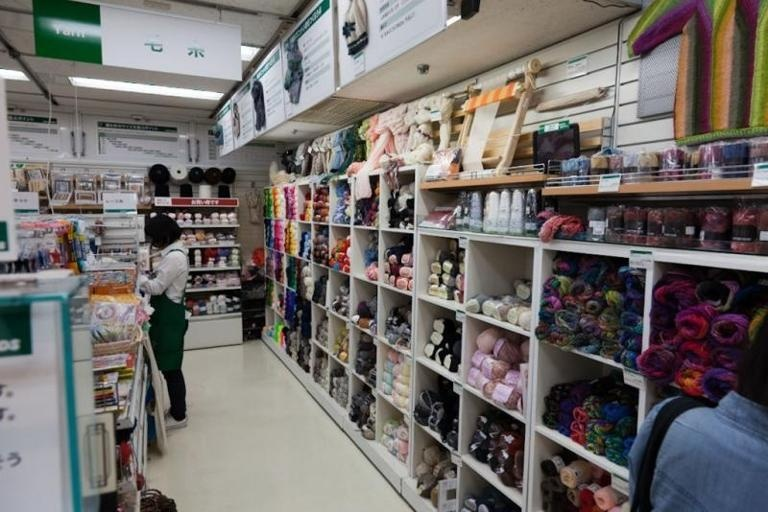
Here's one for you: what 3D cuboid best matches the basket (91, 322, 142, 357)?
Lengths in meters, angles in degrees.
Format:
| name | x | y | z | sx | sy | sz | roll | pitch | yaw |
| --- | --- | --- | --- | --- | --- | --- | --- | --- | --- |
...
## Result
| name | x | y | z | sx | sy | sz | roll | pitch | yaw |
| --- | --- | --- | --- | --- | --- | --- | --- | --- | --- |
| basket | -1.740 | 0.551 | 3.321 | 0.256 | 0.183 | 0.171 | -8 | 13 | -37 |

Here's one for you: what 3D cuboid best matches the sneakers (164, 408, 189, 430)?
| name | x | y | z | sx | sy | sz | roll | pitch | yaw |
| --- | --- | --- | --- | --- | --- | --- | --- | --- | --- |
| sneakers | -1.995 | 1.607 | 4.908 | 0.228 | 0.104 | 0.114 | 5 | -1 | -5 |
